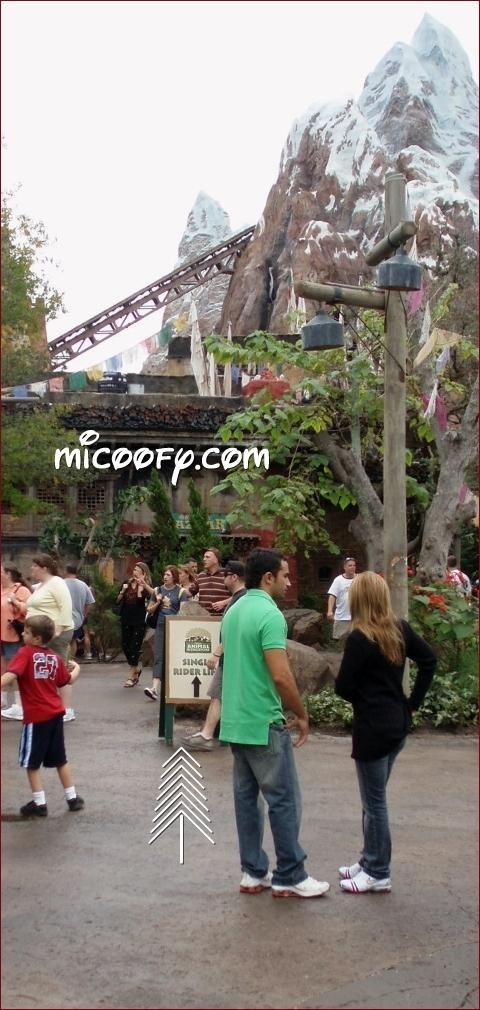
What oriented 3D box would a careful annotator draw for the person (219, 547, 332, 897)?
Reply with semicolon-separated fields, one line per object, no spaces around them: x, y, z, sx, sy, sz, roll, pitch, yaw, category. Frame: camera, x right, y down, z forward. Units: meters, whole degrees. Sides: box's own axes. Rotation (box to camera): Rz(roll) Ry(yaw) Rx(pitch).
0.157;1.160;4.610;0.520;1.842;0.524;-1;0;-2;person

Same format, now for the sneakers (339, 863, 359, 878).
0.599;2.010;4.771;0.054;0.076;0.155;4;-6;-22;sneakers

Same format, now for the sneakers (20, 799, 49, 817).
-1.437;2.116;6.022;0.182;0.092;0.183;-1;1;-16;sneakers

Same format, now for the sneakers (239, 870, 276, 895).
0.085;2.005;4.631;0.079;0.109;0.217;-1;-3;29;sneakers

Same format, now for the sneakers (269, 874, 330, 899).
0.322;1.990;4.543;0.272;0.136;0.115;-2;-4;0;sneakers

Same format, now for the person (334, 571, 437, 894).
0.766;1.228;4.726;0.572;1.718;0.343;-1;1;-44;person

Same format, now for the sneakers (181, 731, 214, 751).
-0.428;2.325;8.489;0.275;0.234;0.347;-1;0;-5;sneakers

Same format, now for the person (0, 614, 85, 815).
-1.397;1.492;6.149;0.546;1.111;0.415;-1;1;-20;person

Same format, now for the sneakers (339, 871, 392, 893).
0.668;2.003;4.595;0.261;0.139;0.107;3;-11;1;sneakers

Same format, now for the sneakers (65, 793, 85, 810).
-1.181;2.131;6.234;0.063;0.089;0.190;0;0;3;sneakers

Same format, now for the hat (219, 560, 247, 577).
-0.049;0.576;8.093;0.174;0.101;0.132;28;11;29;hat
